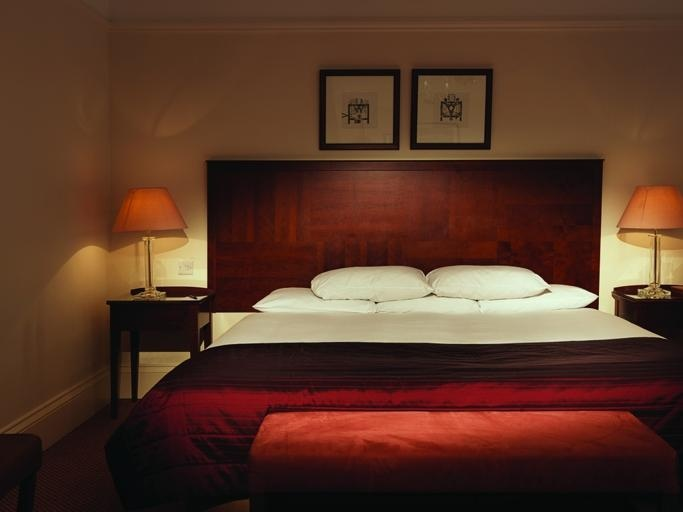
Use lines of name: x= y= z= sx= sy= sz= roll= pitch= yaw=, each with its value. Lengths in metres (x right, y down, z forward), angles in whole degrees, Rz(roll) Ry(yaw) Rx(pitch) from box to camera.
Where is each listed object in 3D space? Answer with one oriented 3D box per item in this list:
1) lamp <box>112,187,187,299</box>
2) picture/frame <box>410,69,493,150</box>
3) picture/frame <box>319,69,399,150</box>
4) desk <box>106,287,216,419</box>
lamp: x=-1.253 y=-0.107 z=3.811 sx=0.455 sy=0.696 sz=0.481 roll=-1 pitch=7 yaw=-15
picture/frame: x=0.761 y=-1.021 z=3.903 sx=0.596 sy=0.513 sz=0.045 roll=0 pitch=3 yaw=-1
picture/frame: x=0.118 y=-0.990 z=3.938 sx=0.548 sy=0.506 sz=0.024 roll=6 pitch=15 yaw=23
desk: x=-1.153 y=0.553 z=3.796 sx=0.634 sy=0.578 sz=0.577 roll=-1 pitch=1 yaw=17
